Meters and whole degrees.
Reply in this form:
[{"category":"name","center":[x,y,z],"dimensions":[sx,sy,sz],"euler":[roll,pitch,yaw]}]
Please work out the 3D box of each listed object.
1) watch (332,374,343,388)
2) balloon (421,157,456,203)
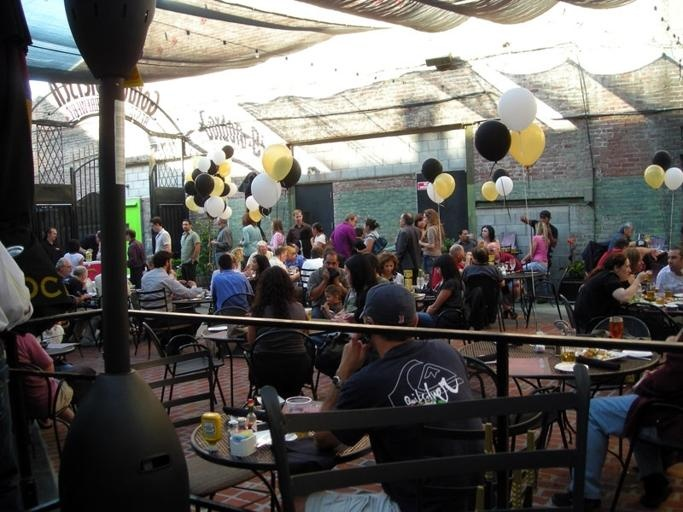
[{"category":"watch","center":[-0.027,0.653,2.918],"dimensions":[0.038,0.066,0.059],"euler":[-5,-13,17]},{"category":"balloon","center":[2.207,-1.764,13.052],"dimensions":[0.664,0.939,1.243],"euler":[0,3,3]}]
